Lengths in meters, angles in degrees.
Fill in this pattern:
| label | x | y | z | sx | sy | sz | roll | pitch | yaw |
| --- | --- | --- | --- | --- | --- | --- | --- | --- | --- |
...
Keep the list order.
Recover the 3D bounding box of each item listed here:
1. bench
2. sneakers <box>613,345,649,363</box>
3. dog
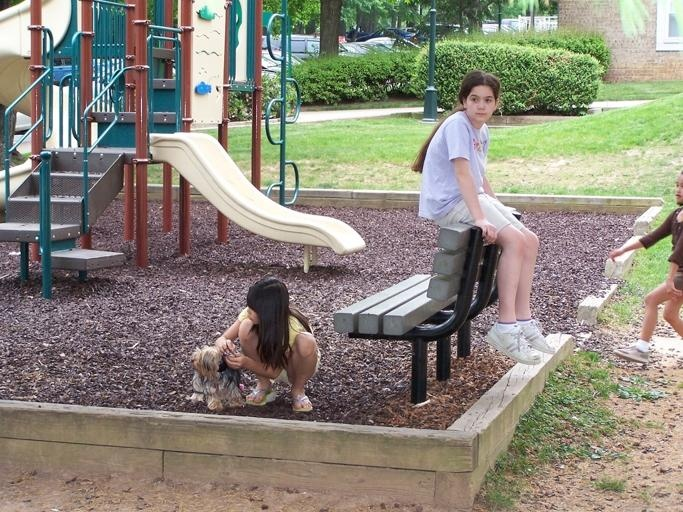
| label | x | y | z | sx | sy | sz | roll | pitch | yaw |
| --- | --- | --- | --- | --- | --- | --- | --- | --- | --- |
| bench | 0.601 | 0.247 | 5.582 | 0.771 | 1.035 | 1.648 | 2 | 8 | 21 |
| sneakers | 1.980 | 0.676 | 6.187 | 0.256 | 0.109 | 0.097 | 18 | -11 | 11 |
| dog | -0.699 | 0.690 | 5.124 | 0.350 | 0.380 | 0.254 | -4 | 18 | -40 |
